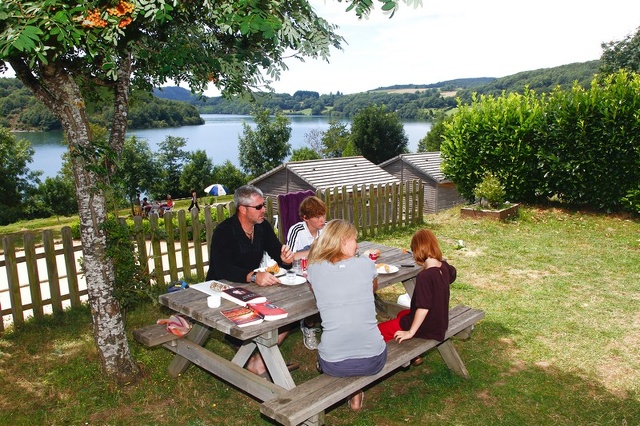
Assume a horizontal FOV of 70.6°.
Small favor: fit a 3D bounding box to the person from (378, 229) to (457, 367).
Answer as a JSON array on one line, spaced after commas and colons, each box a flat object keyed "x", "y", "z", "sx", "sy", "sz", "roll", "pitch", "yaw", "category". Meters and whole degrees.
[{"x": 1.378, "y": 1.378, "z": 6.915, "sx": 1.143, "sy": 2.255, "sz": 1.339, "roll": -10, "pitch": 13, "yaw": -39, "category": "person"}]

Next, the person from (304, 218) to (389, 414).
[{"x": 0.338, "y": 1.137, "z": 5.832, "sx": 0.932, "sy": 1.964, "sz": 0.471, "roll": -6, "pitch": 11, "yaw": -2, "category": "person"}]

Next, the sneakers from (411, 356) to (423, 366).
[{"x": 1.522, "y": 2.351, "z": 7.102, "sx": 0.101, "sy": 0.105, "sz": 0.259, "roll": -3, "pitch": -2, "yaw": 25, "category": "sneakers"}]

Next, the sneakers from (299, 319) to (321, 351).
[{"x": -0.143, "y": 2.120, "z": 7.709, "sx": 0.250, "sy": 0.620, "sz": 0.264, "roll": 17, "pitch": -45, "yaw": -44, "category": "sneakers"}]

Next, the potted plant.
[{"x": 5.987, "y": -0.544, "z": 15.704, "sx": 1.573, "sy": 1.373, "sz": 1.913, "roll": 3, "pitch": 13, "yaw": 42, "category": "potted plant"}]

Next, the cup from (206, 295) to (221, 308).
[{"x": -1.445, "y": 1.202, "z": 6.147, "sx": 0.149, "sy": 0.119, "sz": 0.153, "roll": -2, "pitch": 3, "yaw": 0, "category": "cup"}]

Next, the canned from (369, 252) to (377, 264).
[{"x": 0.851, "y": 0.749, "z": 7.221, "sx": 0.141, "sy": 0.103, "sz": 0.178, "roll": -1, "pitch": 32, "yaw": -6, "category": "canned"}]

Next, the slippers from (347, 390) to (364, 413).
[{"x": 0.505, "y": 2.667, "z": 6.307, "sx": 0.184, "sy": 0.118, "sz": 0.341, "roll": -2, "pitch": 24, "yaw": 3, "category": "slippers"}]

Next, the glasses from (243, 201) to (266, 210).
[{"x": -1.000, "y": -0.094, "z": 6.952, "sx": 0.339, "sy": 0.116, "sz": 0.127, "roll": -12, "pitch": 12, "yaw": -31, "category": "glasses"}]

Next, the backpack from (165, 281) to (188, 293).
[{"x": -2.100, "y": 1.156, "z": 6.791, "sx": 0.290, "sy": 0.108, "sz": 0.299, "roll": 7, "pitch": 15, "yaw": 33, "category": "backpack"}]
